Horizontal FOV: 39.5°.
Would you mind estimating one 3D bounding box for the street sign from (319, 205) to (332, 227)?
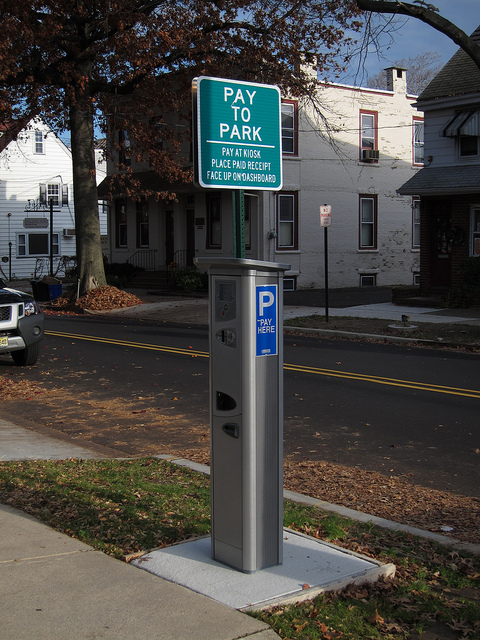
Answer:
[{"bbox_3d":[2.125,-2.557,16.518,0.229,0.489,0.381,3,2,18],"label":"street sign"}]

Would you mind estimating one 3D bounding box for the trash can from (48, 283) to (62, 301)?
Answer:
[{"bbox_3d":[-7.260,-1.131,26.251,0.558,0.869,0.576,-1,0,24],"label":"trash can"}]

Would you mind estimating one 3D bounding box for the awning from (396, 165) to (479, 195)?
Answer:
[{"bbox_3d":[6.946,-4.763,22.608,1.324,1.169,2.774,0,3,-42],"label":"awning"}]

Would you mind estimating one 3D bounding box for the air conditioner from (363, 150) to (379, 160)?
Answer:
[{"bbox_3d":[6.132,-7.660,31.171,0.850,0.488,0.282,0,3,-31],"label":"air conditioner"}]
